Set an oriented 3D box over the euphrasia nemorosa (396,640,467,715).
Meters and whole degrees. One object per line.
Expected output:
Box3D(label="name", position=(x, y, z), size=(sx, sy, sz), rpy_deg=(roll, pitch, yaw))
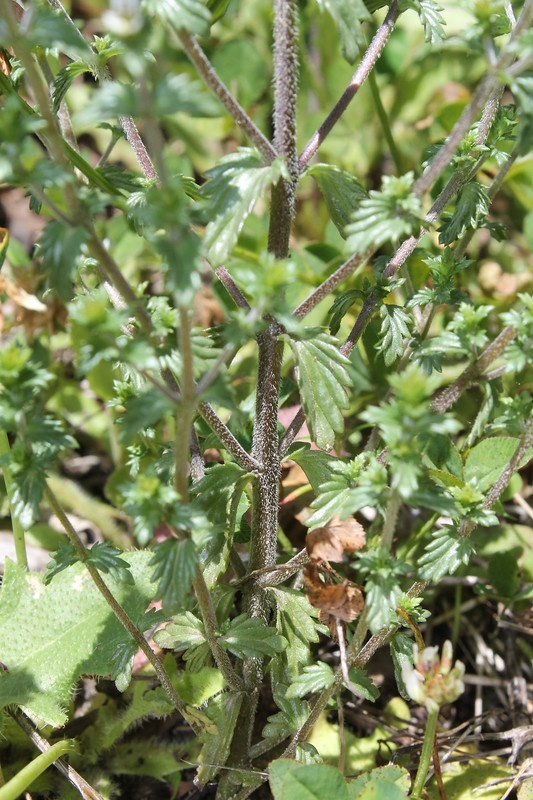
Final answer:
Box3D(label="euphrasia nemorosa", position=(0.281, 0.455, 1.197), size=(0.120, 0.120, 0.125), rpy_deg=(-7, 76, 23))
